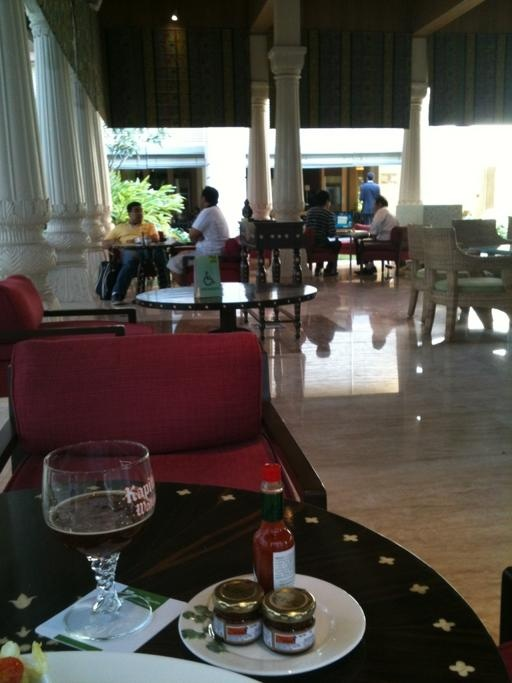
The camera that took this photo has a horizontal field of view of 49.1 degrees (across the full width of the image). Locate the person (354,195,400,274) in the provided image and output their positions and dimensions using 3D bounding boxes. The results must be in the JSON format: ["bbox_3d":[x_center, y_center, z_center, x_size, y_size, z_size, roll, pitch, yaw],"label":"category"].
[{"bbox_3d":[2.018,-1.770,9.402,0.768,1.306,0.557,-2,-4,31],"label":"person"}]

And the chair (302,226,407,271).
[{"bbox_3d":[1.850,-1.600,9.772,1.562,0.763,2.630,3,0,16],"label":"chair"}]

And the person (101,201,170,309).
[{"bbox_3d":[-1.474,-1.133,6.943,0.715,1.313,0.753,-8,0,-13],"label":"person"}]

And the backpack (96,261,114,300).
[{"bbox_3d":[-1.734,-0.691,6.471,0.169,0.356,0.473,4,-20,-17],"label":"backpack"}]

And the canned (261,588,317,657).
[{"bbox_3d":[0.030,0.260,0.517,0.048,0.056,0.050,2,0,5],"label":"canned"}]

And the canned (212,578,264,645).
[{"bbox_3d":[-0.015,0.246,0.520,0.044,0.043,0.047,0,7,-1],"label":"canned"}]

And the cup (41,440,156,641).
[{"bbox_3d":[-0.176,0.197,0.619,0.112,0.183,0.195,2,0,-20],"label":"cup"}]

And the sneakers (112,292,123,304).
[{"bbox_3d":[-1.591,-0.506,6.433,0.121,0.133,0.307,-2,3,-19],"label":"sneakers"}]

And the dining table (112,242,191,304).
[{"bbox_3d":[-1.342,-0.752,6.710,0.707,0.678,0.703,-7,21,-17],"label":"dining table"}]

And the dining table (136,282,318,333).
[{"bbox_3d":[-0.256,-0.279,4.138,1.227,0.380,1.345,2,0,-13],"label":"dining table"}]
